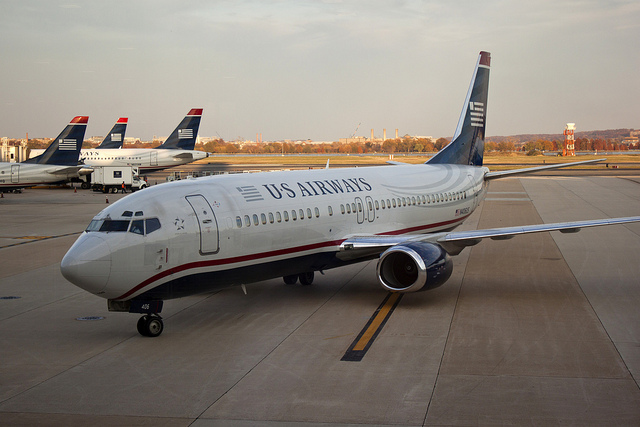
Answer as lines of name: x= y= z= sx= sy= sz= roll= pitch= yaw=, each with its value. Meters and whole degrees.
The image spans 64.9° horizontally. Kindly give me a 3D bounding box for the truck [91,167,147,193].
truck: x=-25.060 y=-4.542 z=69.209 sx=9.150 sy=3.450 sz=4.376 roll=3 pitch=3 yaw=32
